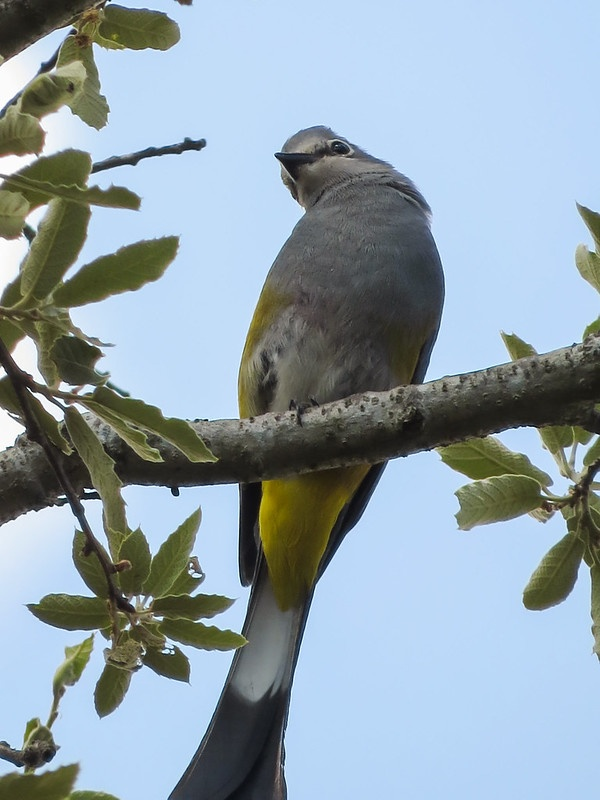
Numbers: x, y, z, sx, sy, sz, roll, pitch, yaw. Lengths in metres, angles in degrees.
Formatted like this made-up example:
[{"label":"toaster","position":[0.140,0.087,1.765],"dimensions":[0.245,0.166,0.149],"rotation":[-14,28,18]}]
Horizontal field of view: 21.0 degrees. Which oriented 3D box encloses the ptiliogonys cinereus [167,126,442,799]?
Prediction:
[{"label":"ptiliogonys cinereus","position":[0.049,0.015,4.443],"dimensions":[0.510,2.028,0.777],"rotation":[8,3,-1]}]
